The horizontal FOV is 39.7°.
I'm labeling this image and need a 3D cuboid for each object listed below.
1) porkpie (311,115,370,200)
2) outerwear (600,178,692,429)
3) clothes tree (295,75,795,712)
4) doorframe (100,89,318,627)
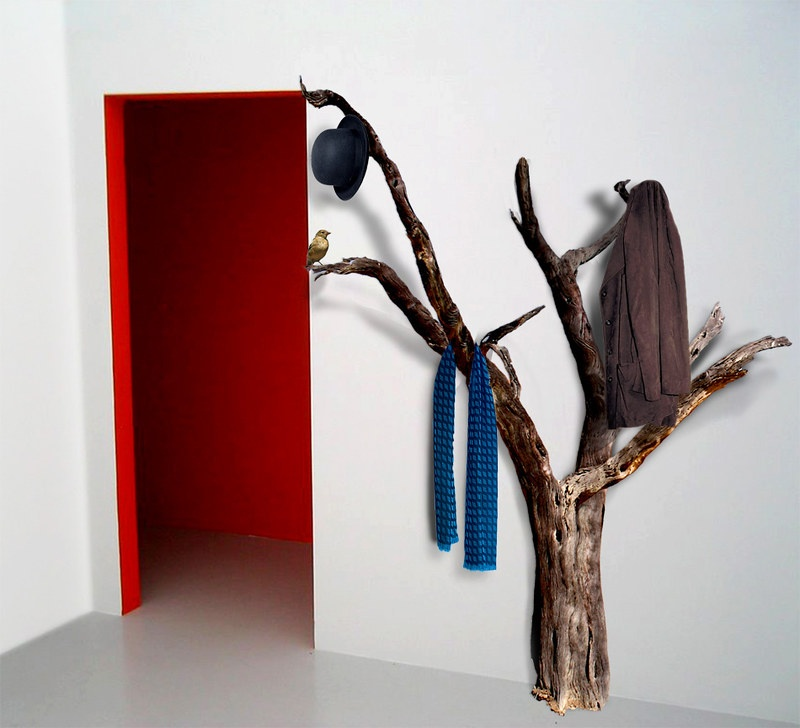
[{"bbox_3d":[-0.232,-0.801,4.315,0.103,0.306,0.264,2,4,-23],"label":"porkpie"},{"bbox_3d":[0.931,-0.256,4.231,0.283,1.009,0.261,7,29,26],"label":"outerwear"},{"bbox_3d":[0.651,0.089,4.421,1.594,3.042,0.865,-1,1,-4],"label":"clothes tree"},{"bbox_3d":[-0.995,-0.233,5.997,1.098,2.302,0.359,3,12,14],"label":"doorframe"}]
